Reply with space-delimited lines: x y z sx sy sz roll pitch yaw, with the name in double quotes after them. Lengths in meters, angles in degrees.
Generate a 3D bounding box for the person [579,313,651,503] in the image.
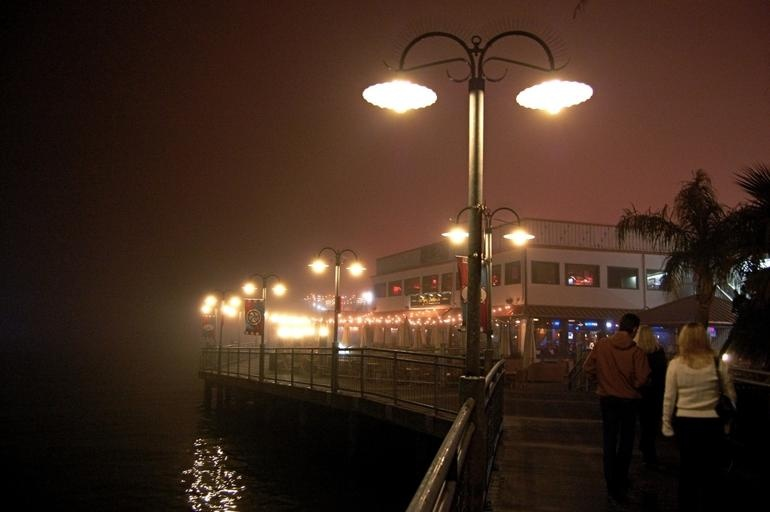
5.357 3.482 16.379 1.262 4.190 0.556 -1 -5 17 "person"
